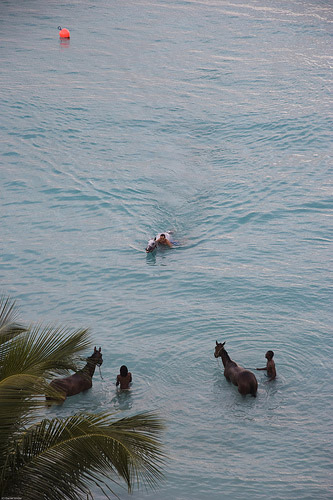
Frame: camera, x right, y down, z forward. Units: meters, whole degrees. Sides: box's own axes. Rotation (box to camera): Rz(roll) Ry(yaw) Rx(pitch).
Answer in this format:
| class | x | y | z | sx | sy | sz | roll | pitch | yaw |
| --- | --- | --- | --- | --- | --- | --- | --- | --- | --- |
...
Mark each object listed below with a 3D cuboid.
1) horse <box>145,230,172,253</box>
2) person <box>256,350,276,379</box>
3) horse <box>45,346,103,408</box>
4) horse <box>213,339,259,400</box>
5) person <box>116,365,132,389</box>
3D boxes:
| class | x | y | z | sx | sy | sz | roll | pitch | yaw |
| --- | --- | --- | --- | --- | --- | --- | --- | --- | --- |
| horse | -0.325 | -0.235 | 27.335 | 0.234 | 0.483 | 0.973 | 13 | 40 | 28 |
| person | 2.348 | 2.785 | 19.907 | 0.489 | 0.702 | 0.657 | 1 | -7 | -2 |
| horse | -2.186 | 3.188 | 19.424 | 0.541 | 1.445 | 2.052 | 10 | 14 | 33 |
| horse | 1.586 | 2.822 | 19.594 | 0.458 | 1.267 | 1.238 | 5 | -8 | -28 |
| person | -1.032 | 3.036 | 19.692 | 0.360 | 0.572 | 0.834 | 1 | -7 | -3 |
